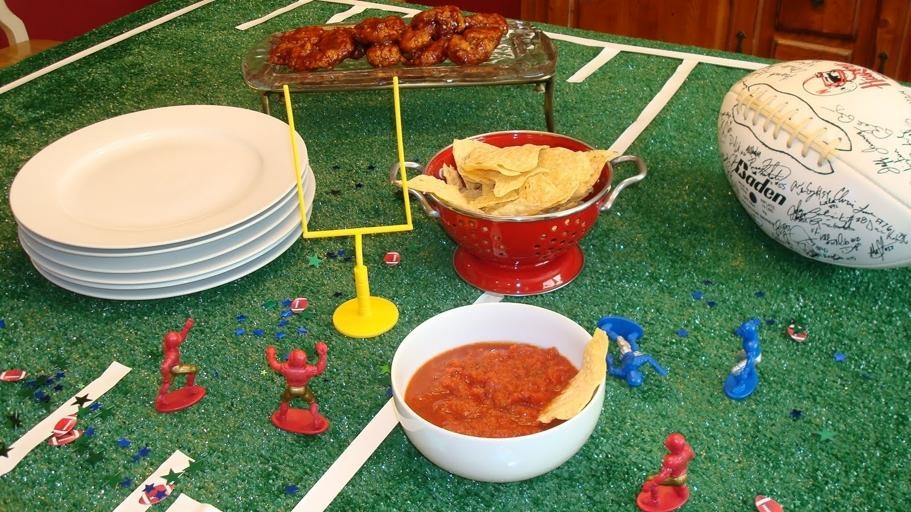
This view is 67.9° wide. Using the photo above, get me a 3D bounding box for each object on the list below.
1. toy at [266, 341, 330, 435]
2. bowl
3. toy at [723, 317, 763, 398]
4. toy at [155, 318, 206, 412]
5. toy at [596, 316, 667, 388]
[{"bbox_3d":[-0.324,0.248,1.386,0.122,0.164,0.188,0,52,5],"label":"toy"},{"bbox_3d":[0.088,0.284,1.356,0.253,0.185,0.327,-33,33,-33],"label":"bowl"},{"bbox_3d":[0.636,0.208,1.453,0.071,0.071,0.216,19,55,18],"label":"toy"},{"bbox_3d":[-0.589,0.235,1.455,0.109,0.201,0.097,-20,39,-36],"label":"toy"},{"bbox_3d":[0.384,0.201,1.481,0.133,0.084,0.152,0,37,6],"label":"toy"}]
